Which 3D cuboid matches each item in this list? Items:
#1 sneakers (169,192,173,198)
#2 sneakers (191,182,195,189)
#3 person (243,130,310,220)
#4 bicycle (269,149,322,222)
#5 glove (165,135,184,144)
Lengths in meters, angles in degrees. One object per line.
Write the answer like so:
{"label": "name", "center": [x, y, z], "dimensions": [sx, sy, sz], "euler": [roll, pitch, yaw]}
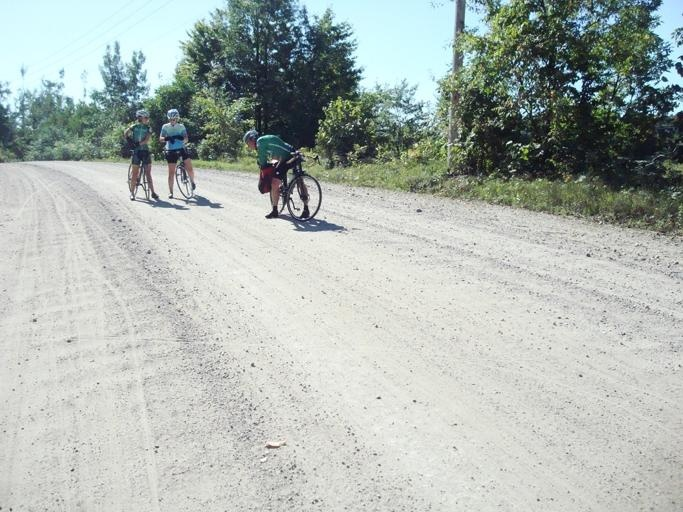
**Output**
{"label": "sneakers", "center": [-4.552, -1.645, 16.273], "dimensions": [0.086, 0.123, 0.119], "euler": [12, 27, 20]}
{"label": "sneakers", "center": [-3.844, -1.824, 15.856], "dimensions": [0.067, 0.126, 0.138], "euler": [-1, 16, -2]}
{"label": "person", "center": [-1.482, -1.766, 13.169], "dimensions": [1.120, 1.788, 0.539], "euler": [-4, 14, -10]}
{"label": "bicycle", "center": [-0.947, -1.500, 13.900], "dimensions": [0.796, 1.149, 1.666], "euler": [1, 9, -20]}
{"label": "glove", "center": [-4.391, -3.094, 16.120], "dimensions": [0.446, 0.209, 0.203], "euler": [-6, 16, -15]}
